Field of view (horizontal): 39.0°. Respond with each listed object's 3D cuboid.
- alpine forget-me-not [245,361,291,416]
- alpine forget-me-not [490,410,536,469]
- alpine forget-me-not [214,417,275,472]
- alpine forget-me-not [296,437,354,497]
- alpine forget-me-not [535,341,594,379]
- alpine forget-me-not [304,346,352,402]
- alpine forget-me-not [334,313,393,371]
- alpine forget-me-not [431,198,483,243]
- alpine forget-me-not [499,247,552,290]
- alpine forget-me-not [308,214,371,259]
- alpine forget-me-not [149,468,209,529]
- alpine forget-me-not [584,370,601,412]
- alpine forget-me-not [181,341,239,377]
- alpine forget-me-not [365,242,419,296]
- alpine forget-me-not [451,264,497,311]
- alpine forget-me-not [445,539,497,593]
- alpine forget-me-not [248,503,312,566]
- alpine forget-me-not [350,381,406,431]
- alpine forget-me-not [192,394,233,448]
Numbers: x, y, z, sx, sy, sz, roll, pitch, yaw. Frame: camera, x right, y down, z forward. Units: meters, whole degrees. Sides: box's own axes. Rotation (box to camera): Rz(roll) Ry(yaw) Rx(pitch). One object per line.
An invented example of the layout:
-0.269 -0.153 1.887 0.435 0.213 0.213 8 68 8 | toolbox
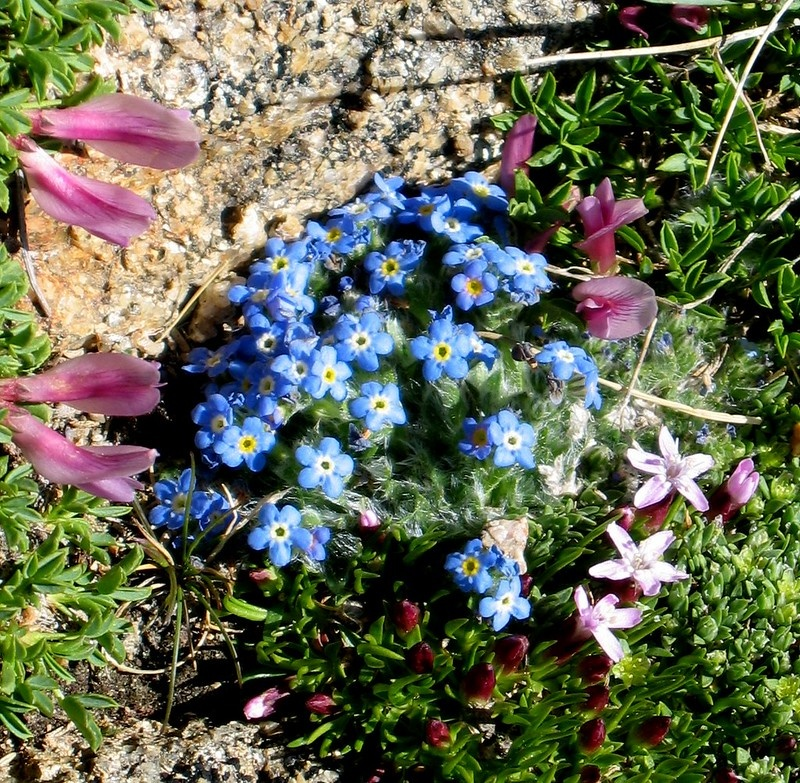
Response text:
-0.486 -0.008 4.088 0.215 0.065 0.181 23 94 42 | alpine forget-me-not
0.373 0.174 3.980 0.227 0.055 0.183 17 64 -23 | alpine forget-me-not
-0.553 0.184 4.093 0.248 0.187 0.182 -5 94 -19 | alpine forget-me-not
-0.266 0.271 4.046 0.193 0.239 0.228 14 67 6 | alpine forget-me-not
0.610 -0.113 4.100 0.170 0.075 0.169 -33 68 -15 | alpine forget-me-not
-0.251 -0.064 3.984 0.211 0.055 0.169 -2 83 -37 | alpine forget-me-not
-0.118 -0.186 4.078 0.246 0.171 0.201 -2 100 11 | alpine forget-me-not
0.206 -0.637 4.342 0.228 0.055 0.177 -18 79 -21 | alpine forget-me-not
0.459 -0.454 4.156 0.197 0.126 0.185 3 64 2 | alpine forget-me-not
-0.228 -0.590 4.328 0.237 0.132 0.158 -7 65 -3 | alpine forget-me-not
-0.823 0.395 4.206 0.221 0.337 0.222 0 67 0 | alpine forget-me-not
0.706 -0.004 4.130 0.048 0.142 0.118 -10 70 24 | alpine forget-me-not
-0.701 -0.108 4.283 0.219 0.252 0.120 4 68 2 | alpine forget-me-not
-0.026 -0.461 4.226 0.180 0.209 0.057 -52 39 18 | alpine forget-me-not
0.271 -0.387 4.141 0.183 0.188 0.051 -19 60 -11 | alpine forget-me-not
0.261 0.607 3.948 0.207 0.047 0.208 -27 37 -37 | alpine forget-me-not
-0.422 0.496 3.985 0.265 0.232 0.204 -2 91 -17 | alpine forget-me-not
-0.082 0.051 4.020 0.185 0.127 0.173 -11 65 -5 | alpine forget-me-not
-0.676 0.106 4.127 0.220 0.056 0.170 3 82 26 | alpine forget-me-not
